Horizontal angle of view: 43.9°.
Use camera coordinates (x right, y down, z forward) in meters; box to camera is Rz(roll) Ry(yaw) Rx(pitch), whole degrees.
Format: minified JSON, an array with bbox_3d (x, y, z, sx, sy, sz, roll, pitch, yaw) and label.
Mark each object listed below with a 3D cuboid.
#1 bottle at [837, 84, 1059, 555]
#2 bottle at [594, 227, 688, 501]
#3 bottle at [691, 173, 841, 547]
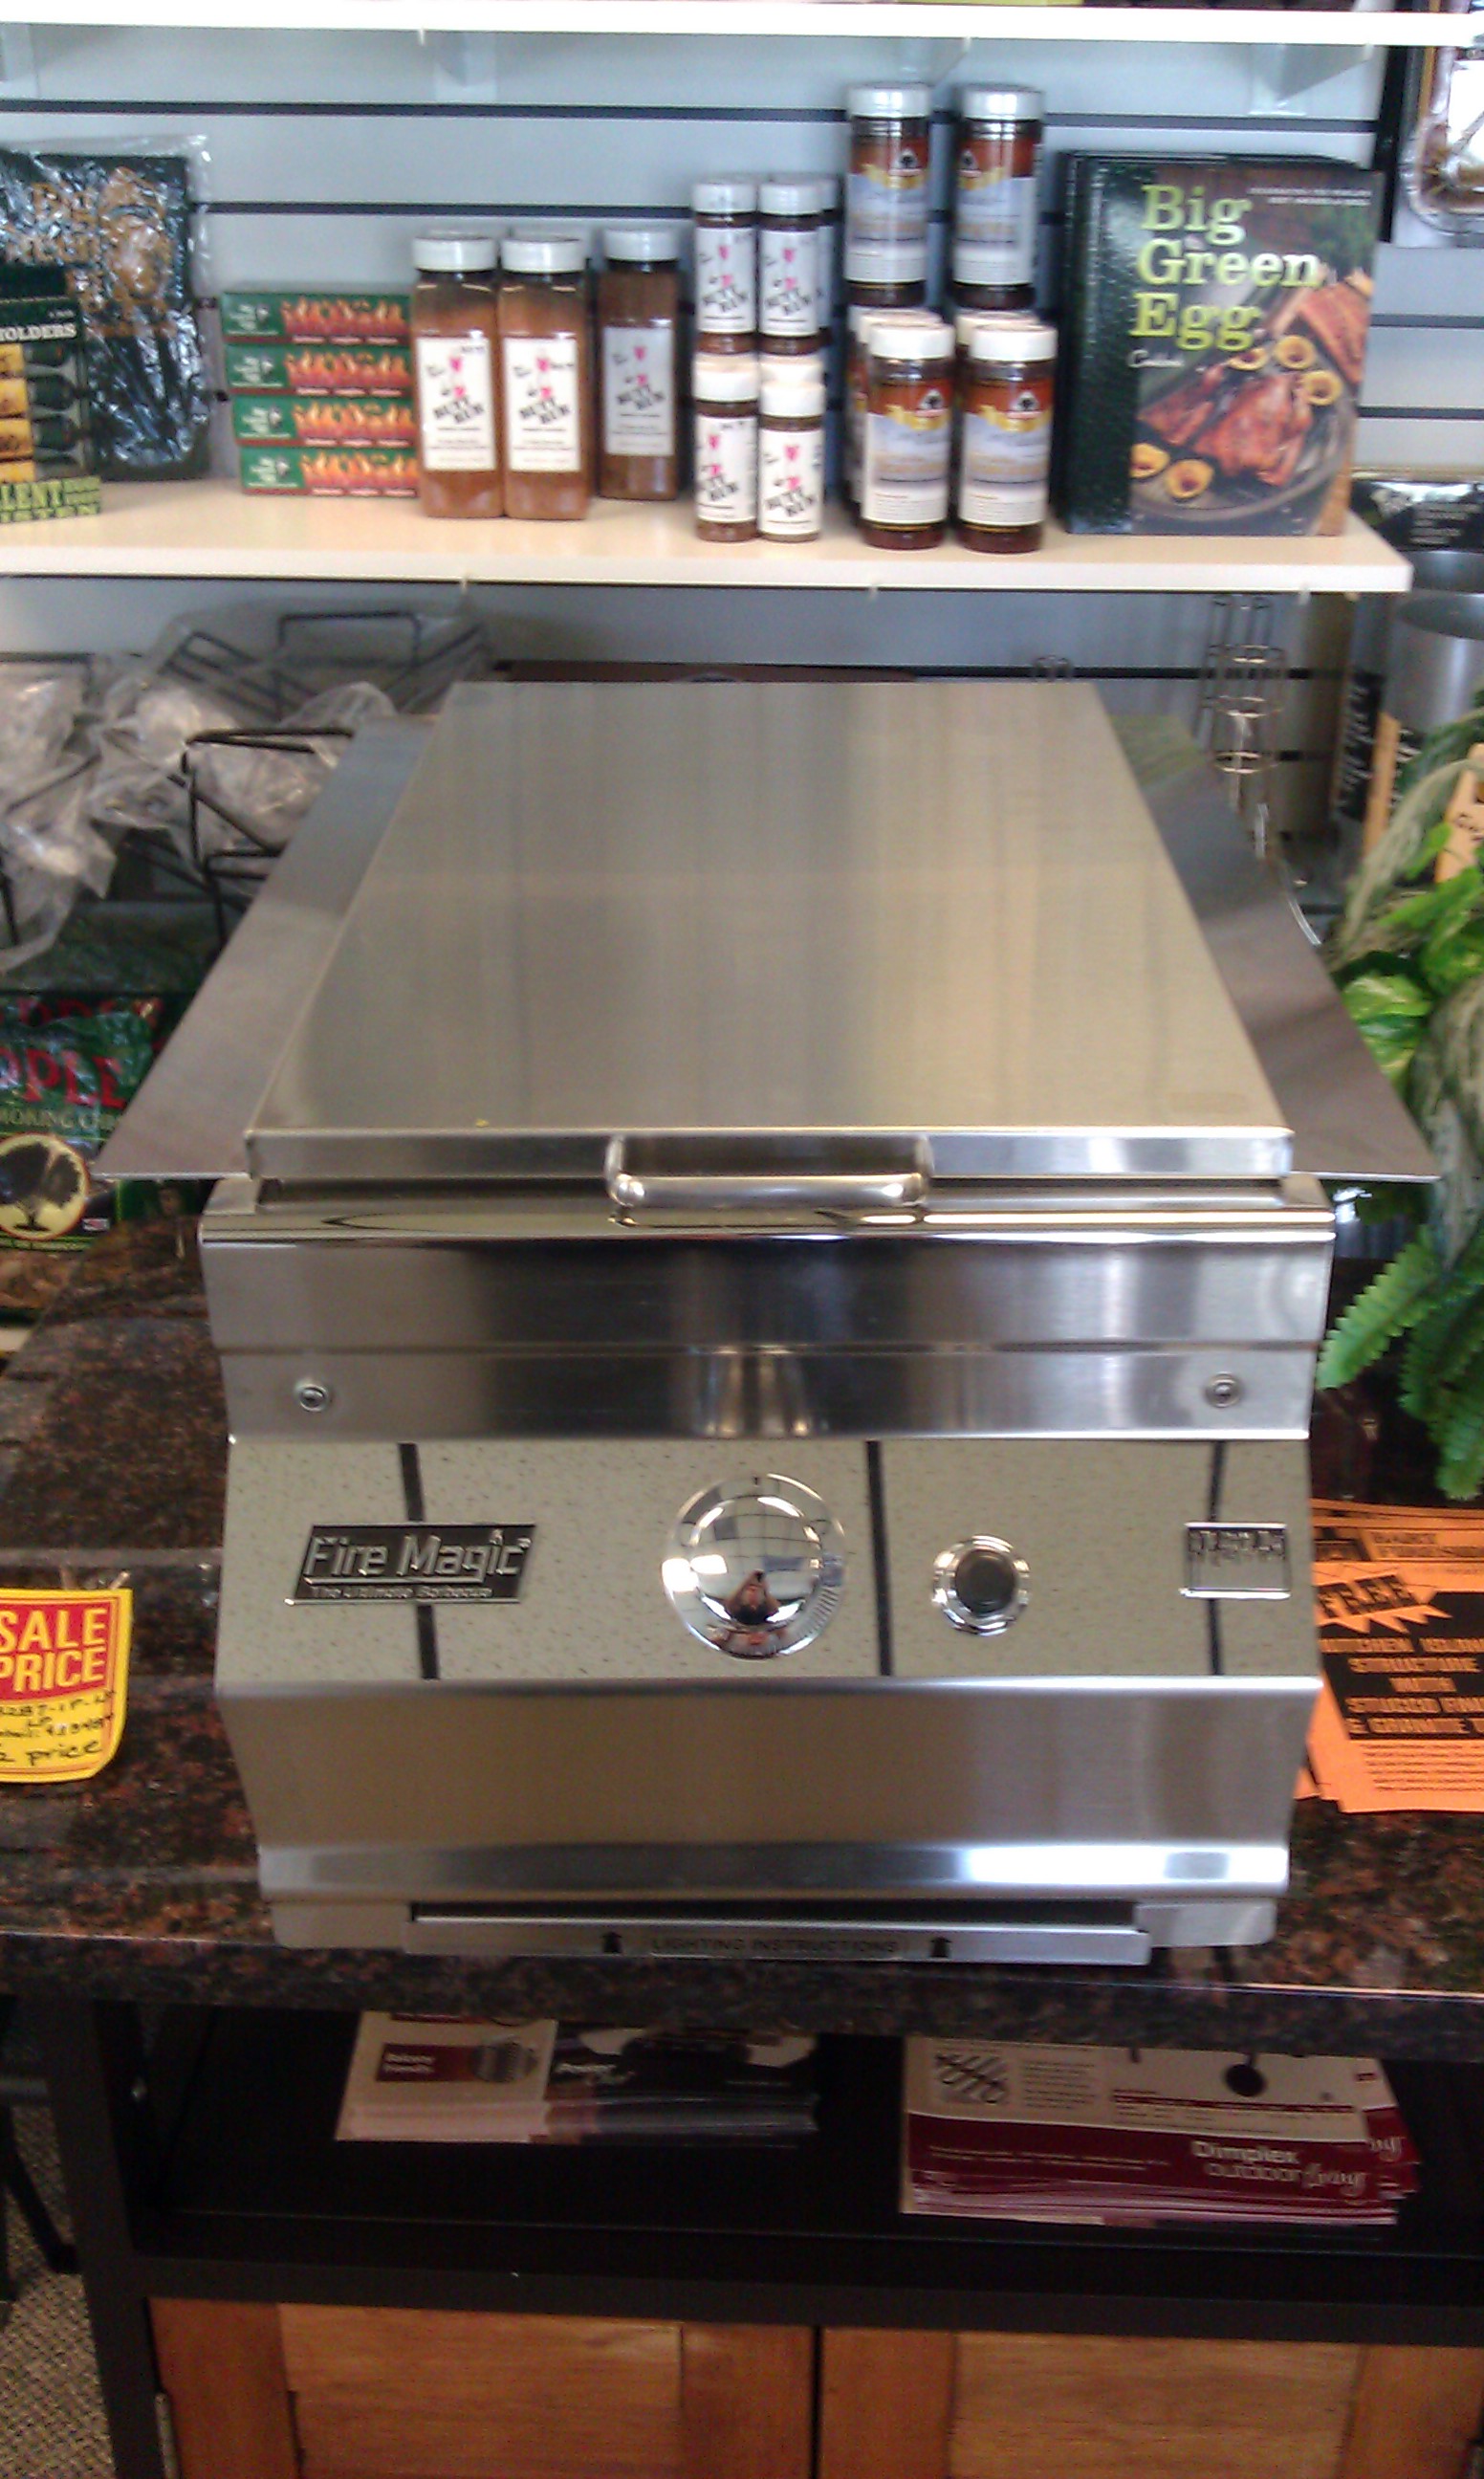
[{"bbox_3d":[0.175,-0.764,1.531,0.180,0.327,0.261,0,30,4],"label":"bottle"},{"bbox_3d":[-0.086,-0.738,1.565,0.075,0.213,0.073,-2,29,1],"label":"bottle"},{"bbox_3d":[0.016,-0.728,1.529,0.116,0.260,0.170,-2,29,1],"label":"bottle"}]
